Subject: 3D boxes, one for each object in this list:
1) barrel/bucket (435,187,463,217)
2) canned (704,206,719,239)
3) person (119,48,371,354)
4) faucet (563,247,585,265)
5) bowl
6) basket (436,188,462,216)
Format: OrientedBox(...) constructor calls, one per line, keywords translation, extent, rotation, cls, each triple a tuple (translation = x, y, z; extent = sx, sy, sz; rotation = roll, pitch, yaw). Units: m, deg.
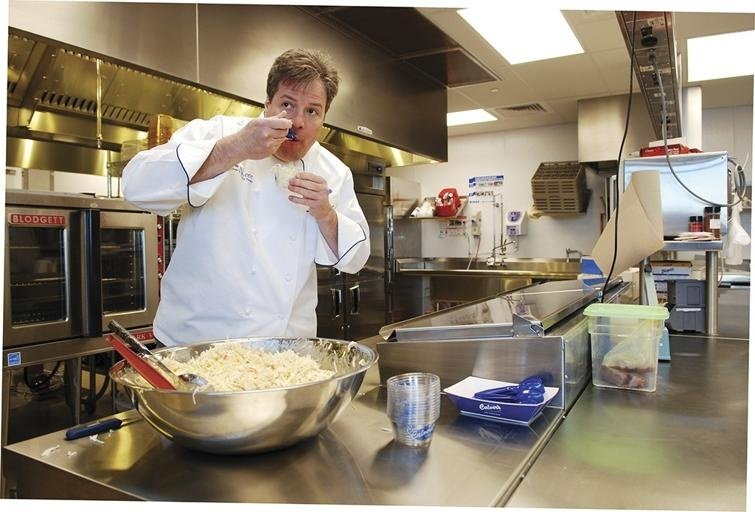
OrientedBox(translation=(1.027, -0.792, 6.991), extent=(0.294, 0.229, 0.481), rotation=(-1, 28, 12), cls="barrel/bucket")
OrientedBox(translation=(2.140, -0.223, 3.087), extent=(0.106, 0.189, 0.256), rotation=(10, 14, 33), cls="canned")
OrientedBox(translation=(-0.468, -0.207, 1.937), extent=(0.962, 1.206, 0.541), rotation=(-4, 13, -26), cls="person")
OrientedBox(translation=(2.489, -0.009, 6.088), extent=(0.185, 0.217, 0.242), rotation=(-2, 2, 17), cls="faucet")
OrientedBox(translation=(-0.344, 0.400, 1.412), extent=(0.626, 0.171, 0.620), rotation=(-5, -33, -3), cls="bowl")
OrientedBox(translation=(1.035, -0.813, 7.012), extent=(0.281, 0.251, 0.461), rotation=(-3, 40, 16), cls="basket")
